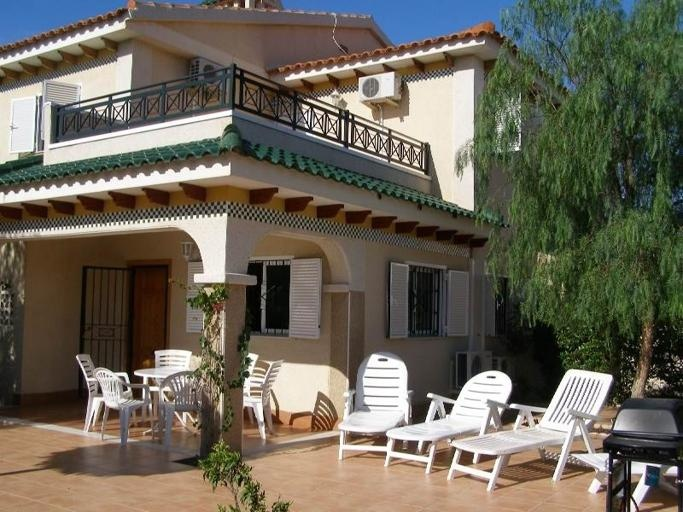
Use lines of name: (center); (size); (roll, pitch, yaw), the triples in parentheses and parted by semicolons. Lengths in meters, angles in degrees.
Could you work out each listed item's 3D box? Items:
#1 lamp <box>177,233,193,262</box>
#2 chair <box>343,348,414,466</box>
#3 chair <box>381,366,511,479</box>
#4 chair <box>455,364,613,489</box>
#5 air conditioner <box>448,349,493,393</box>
lamp: (-3.175, -0.143, 13.816); (0.348, 0.601, 0.359); (-6, -17, 15)
chair: (0.527, 2.328, 10.687); (0.900, 1.541, 1.831); (-1, -4, 12)
chair: (1.652, 2.410, 10.158); (2.257, 1.460, 1.099); (7, -8, -43)
chair: (2.715, 2.462, 9.634); (2.331, 1.709, 1.137); (5, -5, -32)
air conditioner: (2.994, 2.617, 14.937); (0.734, 0.847, 0.466); (13, 2, 28)
